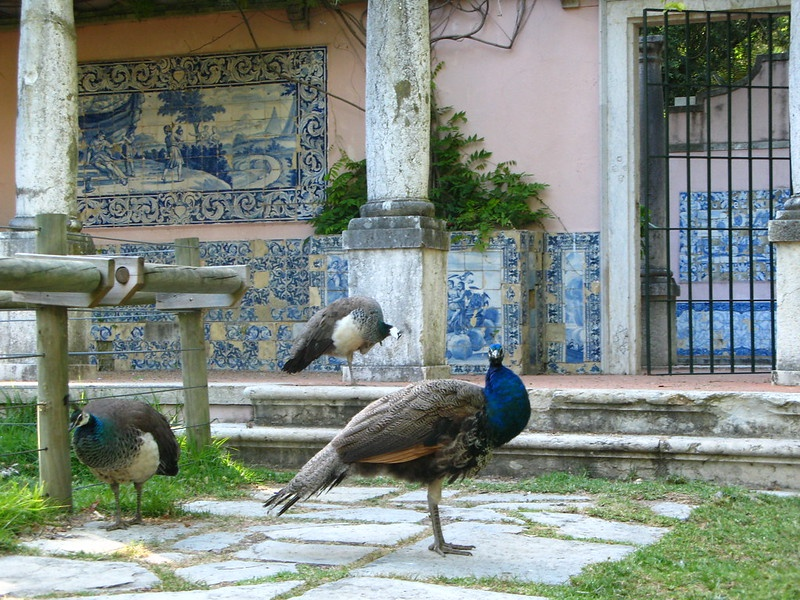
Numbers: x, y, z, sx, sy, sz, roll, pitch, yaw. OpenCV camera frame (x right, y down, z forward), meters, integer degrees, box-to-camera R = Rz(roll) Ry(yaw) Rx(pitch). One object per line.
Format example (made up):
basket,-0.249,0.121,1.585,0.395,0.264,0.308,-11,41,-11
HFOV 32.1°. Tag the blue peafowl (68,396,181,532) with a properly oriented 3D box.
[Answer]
blue peafowl,-2.211,1.320,11.202,0.747,1.012,1.225,-4,5,19

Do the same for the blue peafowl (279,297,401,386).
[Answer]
blue peafowl,-0.578,0.408,13.239,1.054,0.760,0.566,-4,-6,11
